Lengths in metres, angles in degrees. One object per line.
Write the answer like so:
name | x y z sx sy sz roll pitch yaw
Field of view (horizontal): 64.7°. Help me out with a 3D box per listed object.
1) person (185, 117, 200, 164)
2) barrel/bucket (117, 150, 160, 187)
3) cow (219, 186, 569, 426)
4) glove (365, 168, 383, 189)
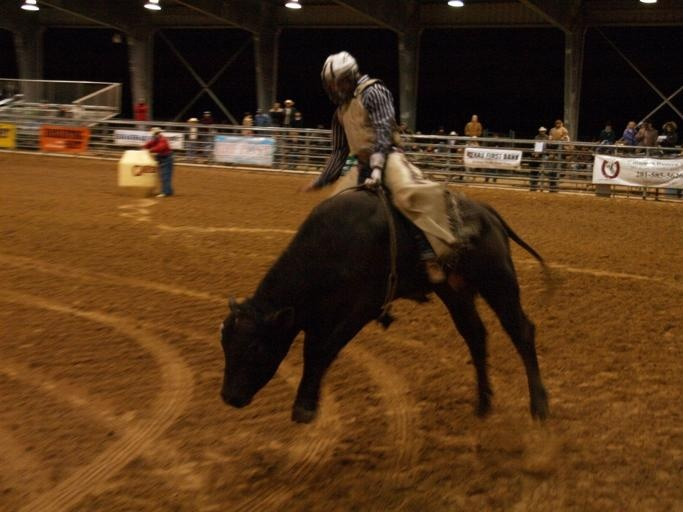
person | -5.287 -4.056 19.143 0.415 1.220 0.559 1 11 -10
barrel/bucket | -5.352 -2.241 13.363 1.020 0.868 1.063 8 14 -2
cow | 0.383 0.298 3.567 2.431 1.277 0.582 -5 2 -28
glove | 0.208 -0.503 3.449 0.107 0.123 0.158 3 10 4
